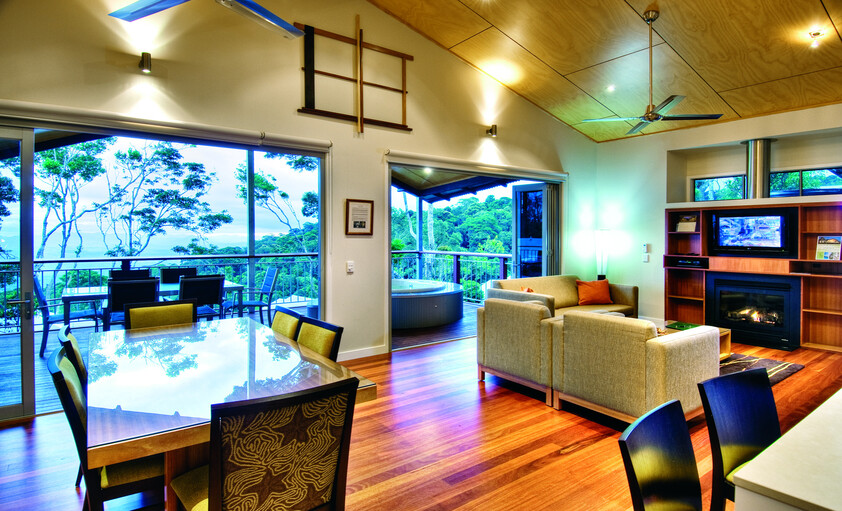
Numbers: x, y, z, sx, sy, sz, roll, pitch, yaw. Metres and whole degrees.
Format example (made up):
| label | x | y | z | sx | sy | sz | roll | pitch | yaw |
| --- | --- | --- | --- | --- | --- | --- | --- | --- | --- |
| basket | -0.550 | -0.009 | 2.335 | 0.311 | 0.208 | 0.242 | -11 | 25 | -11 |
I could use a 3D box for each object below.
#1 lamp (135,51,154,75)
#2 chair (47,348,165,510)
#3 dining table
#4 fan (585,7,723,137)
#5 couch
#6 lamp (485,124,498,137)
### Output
| label | x | y | z | sx | sy | sz | roll | pitch | yaw |
| --- | --- | --- | --- | --- | --- | --- | --- | --- | --- |
| lamp | -3.084 | -2.147 | 5.840 | 0.152 | 0.258 | 0.130 | -5 | 1 | -19 |
| chair | -2.466 | 1.320 | 4.086 | 0.756 | 1.366 | 0.605 | -4 | 1 | 38 |
| dining table | -1.740 | 1.017 | 4.204 | 1.538 | 0.697 | 2.284 | -4 | 13 | -34 |
| fan | 3.264 | -2.156 | 7.015 | 1.922 | 1.587 | 1.618 | 0 | 4 | -10 |
| couch | 1.919 | 1.053 | 5.869 | 2.009 | 0.934 | 1.959 | 0 | -1 | -41 |
| lamp | 1.090 | -1.904 | 8.021 | 0.202 | 0.193 | 0.167 | -2 | -2 | 41 |
